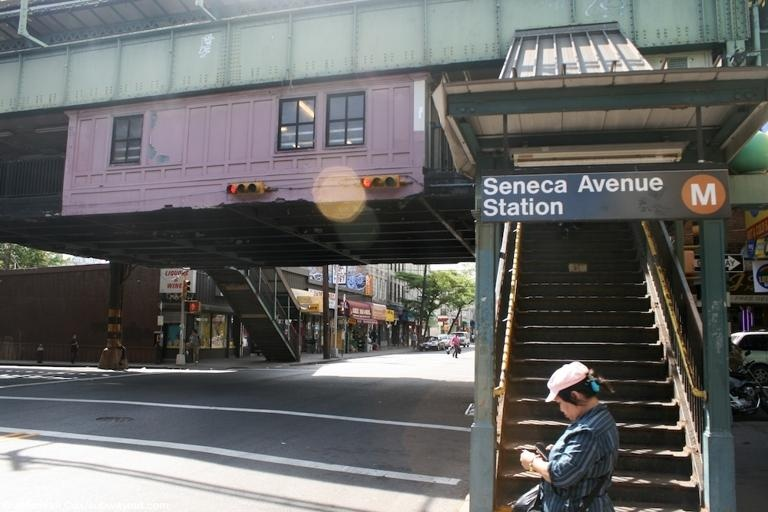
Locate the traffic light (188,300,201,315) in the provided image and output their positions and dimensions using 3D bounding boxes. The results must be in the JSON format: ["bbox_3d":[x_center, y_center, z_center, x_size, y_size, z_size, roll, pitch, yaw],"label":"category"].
[{"bbox_3d":[-10.116,2.624,36.000,0.571,0.594,0.622,7,-12,-26],"label":"traffic light"}]

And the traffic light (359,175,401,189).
[{"bbox_3d":[-0.088,-2.186,19.645,1.176,0.374,0.317,-1,-11,12],"label":"traffic light"}]

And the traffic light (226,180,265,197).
[{"bbox_3d":[-4.224,-2.083,20.592,1.340,0.446,0.347,-2,-11,15],"label":"traffic light"}]

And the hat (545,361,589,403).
[{"bbox_3d":[2.546,1.770,9.012,0.446,0.303,0.632,19,-58,-24],"label":"hat"}]

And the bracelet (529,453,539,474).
[{"bbox_3d":[1.998,2.724,8.936,0.050,0.190,0.140,4,-11,0],"label":"bracelet"}]

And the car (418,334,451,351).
[{"bbox_3d":[5.254,8.745,67.960,1.673,1.191,3.540,1,-1,30],"label":"car"}]
